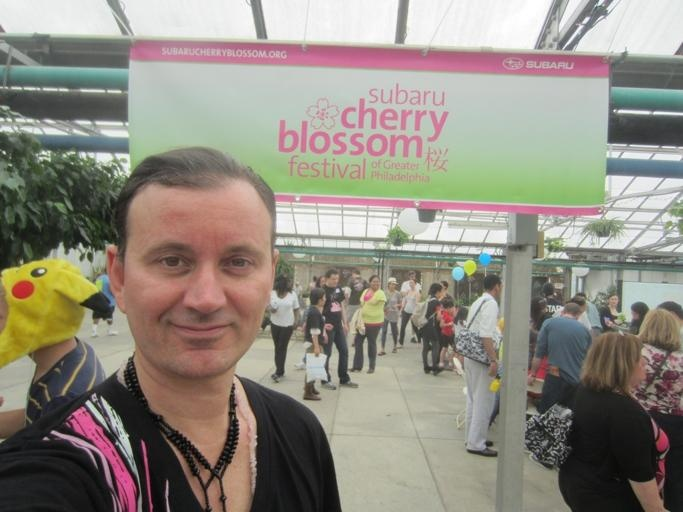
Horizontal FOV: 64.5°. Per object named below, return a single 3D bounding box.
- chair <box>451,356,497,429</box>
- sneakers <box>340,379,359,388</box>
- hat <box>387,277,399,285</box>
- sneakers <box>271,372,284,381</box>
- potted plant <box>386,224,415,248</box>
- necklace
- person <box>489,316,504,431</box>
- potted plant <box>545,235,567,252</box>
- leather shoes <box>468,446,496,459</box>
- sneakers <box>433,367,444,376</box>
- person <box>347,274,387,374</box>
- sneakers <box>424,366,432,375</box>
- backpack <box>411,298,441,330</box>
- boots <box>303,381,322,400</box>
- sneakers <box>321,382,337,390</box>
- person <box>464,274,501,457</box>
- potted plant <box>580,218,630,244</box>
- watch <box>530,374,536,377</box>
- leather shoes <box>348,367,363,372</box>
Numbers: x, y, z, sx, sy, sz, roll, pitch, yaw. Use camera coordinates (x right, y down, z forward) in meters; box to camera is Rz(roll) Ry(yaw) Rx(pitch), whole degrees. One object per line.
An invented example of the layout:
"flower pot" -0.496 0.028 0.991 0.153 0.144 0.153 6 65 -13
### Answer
"chair" 1.676 1.754 7.122 0.686 0.989 0.597 -1 -1 15
"sneakers" 0.125 1.933 8.176 0.290 0.126 0.109 2 2 13
"hat" 1.136 0.562 12.140 0.163 0.120 0.222 0 -7 -25
"sneakers" -0.959 1.809 8.141 0.096 0.104 0.226 2 0 4
"potted plant" 1.777 -0.554 16.898 0.730 0.795 0.774 3 -5 4
"necklace" -0.580 0.685 2.207 0.383 0.690 0.050 -11 -14 -32
"person" 1.813 1.326 6.252 0.144 1.221 0.210 6 -4 36
"potted plant" 7.156 -0.371 18.215 0.735 0.357 0.755 1 8 -2
"leather shoes" 1.553 2.149 5.954 0.313 0.129 0.119 -1 -1 2
"sneakers" 1.658 1.979 9.249 0.086 0.104 0.236 -26 -16 -17
"person" 0.477 1.161 9.254 0.460 1.716 0.670 9 -6 -30
"sneakers" 1.500 1.971 9.405 0.123 0.115 0.221 5 4 9
"backpack" 1.636 1.083 10.057 0.585 0.579 0.410 16 -3 -7
"boots" -0.388 1.855 7.390 0.238 0.277 0.286 -2 -4 -5
"sneakers" -0.192 1.917 8.012 0.227 0.093 0.097 -3 -4 43
"person" 1.618 1.203 6.159 0.446 1.956 0.661 6 4 14
"potted plant" 8.327 -0.847 17.162 1.096 0.641 1.215 -1 -1 5
"watch" 2.259 1.415 6.386 0.031 0.024 0.032 1 -4 -14
"leather shoes" 0.252 1.927 9.186 0.196 0.085 0.067 3 -3 2
